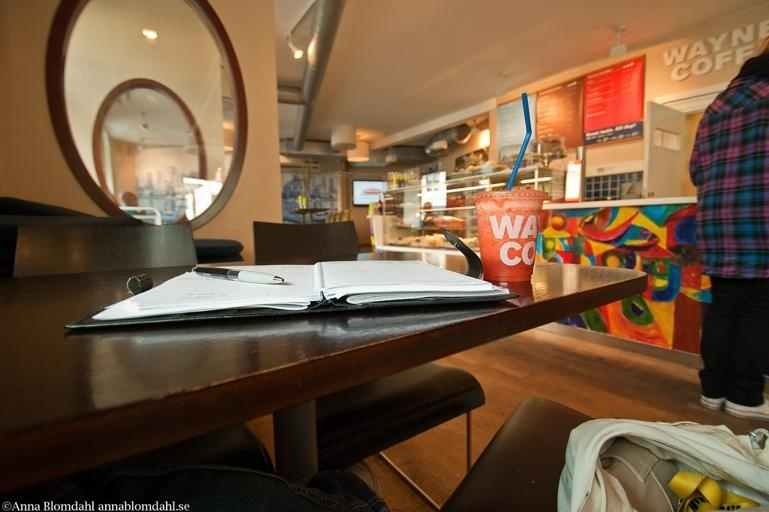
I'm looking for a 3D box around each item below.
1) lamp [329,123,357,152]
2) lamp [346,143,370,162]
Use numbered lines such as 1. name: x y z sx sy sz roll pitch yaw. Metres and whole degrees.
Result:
1. lamp: -0.803 -2.331 8.828 0.455 0.447 0.586 -1 6 -9
2. lamp: -0.601 -2.349 10.156 0.560 0.340 0.512 0 -2 3
